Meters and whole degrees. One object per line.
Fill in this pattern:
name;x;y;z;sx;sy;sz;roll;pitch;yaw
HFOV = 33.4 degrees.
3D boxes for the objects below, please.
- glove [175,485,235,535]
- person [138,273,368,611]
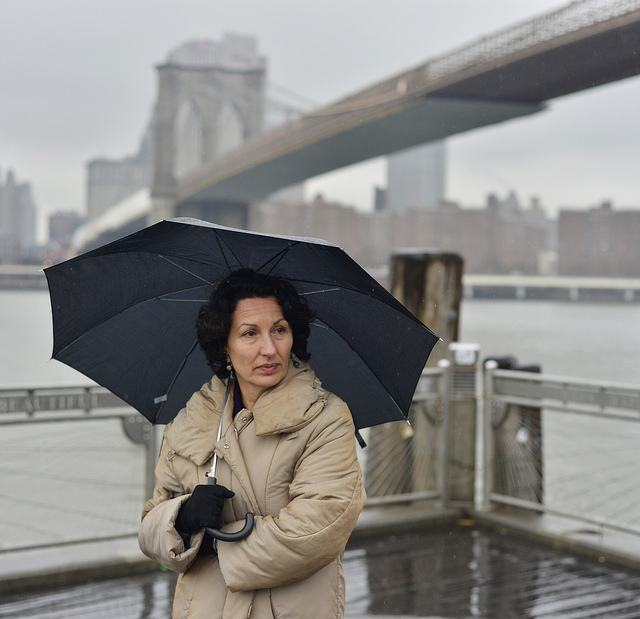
glove;-0.379;0.630;3.468;0.168;0.136;0.061;-35;15;21
person;-0.241;0.464;3.550;0.737;1.070;0.524;-4;14;-10
